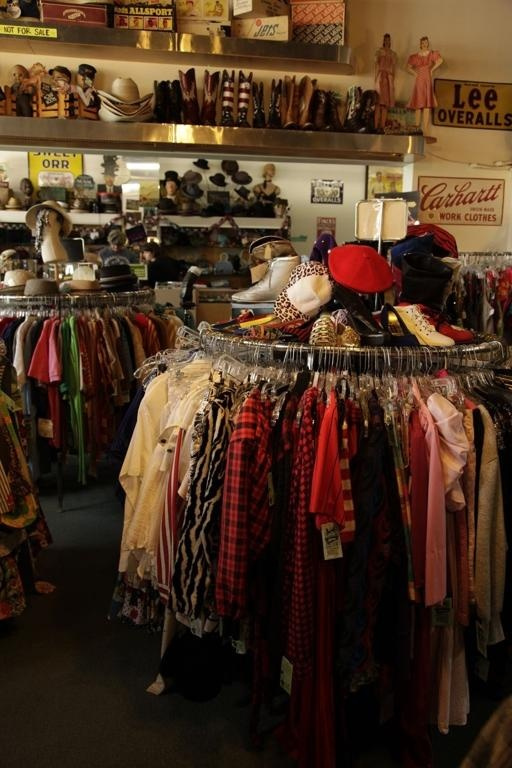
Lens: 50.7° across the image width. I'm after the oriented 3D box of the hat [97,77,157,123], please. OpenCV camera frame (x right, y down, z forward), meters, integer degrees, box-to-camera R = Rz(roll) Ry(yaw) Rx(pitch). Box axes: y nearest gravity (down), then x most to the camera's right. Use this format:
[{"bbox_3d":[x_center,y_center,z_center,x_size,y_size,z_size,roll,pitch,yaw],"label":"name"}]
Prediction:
[{"bbox_3d":[-1.070,-2.303,4.419,0.324,0.232,0.455,-4,29,-6],"label":"hat"}]
